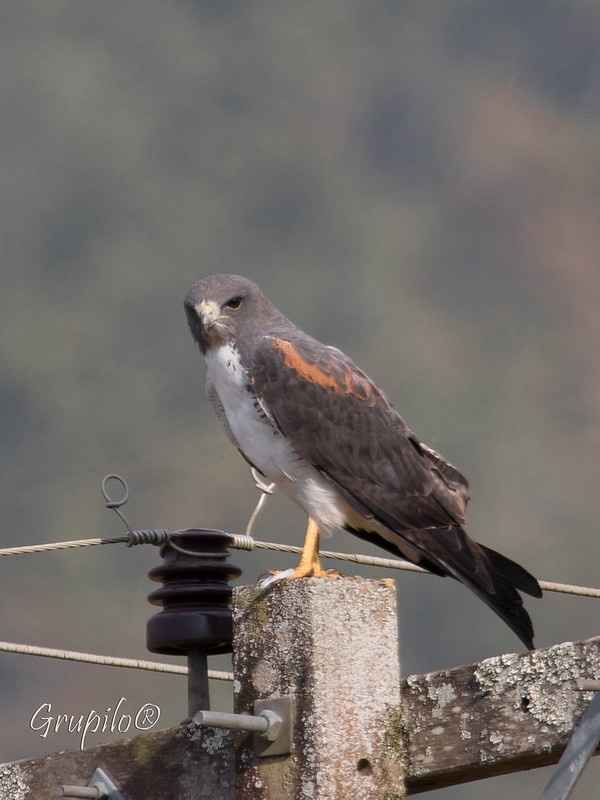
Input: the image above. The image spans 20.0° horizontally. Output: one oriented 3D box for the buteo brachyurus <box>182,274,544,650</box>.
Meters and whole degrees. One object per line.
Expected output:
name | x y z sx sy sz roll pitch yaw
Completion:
buteo brachyurus | 0.154 0.085 4.781 0.820 1.037 1.192 -3 4 36
